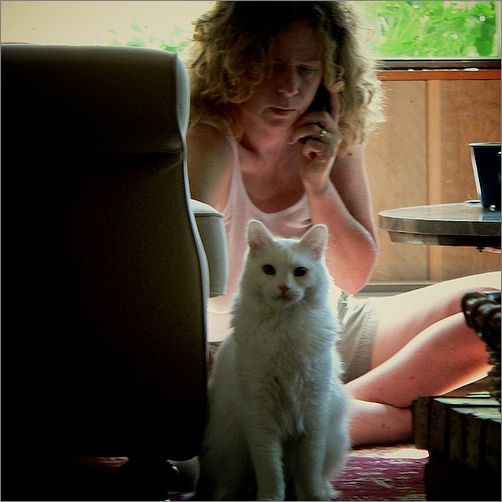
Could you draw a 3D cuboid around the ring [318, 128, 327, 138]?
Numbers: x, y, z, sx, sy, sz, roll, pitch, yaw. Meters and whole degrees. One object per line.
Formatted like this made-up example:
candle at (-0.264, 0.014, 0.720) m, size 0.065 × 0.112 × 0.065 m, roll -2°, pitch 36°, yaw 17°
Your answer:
ring at (0.196, -0.322, 1.812) m, size 0.007 × 0.019 × 0.023 m, roll 9°, pitch -7°, yaw -4°
